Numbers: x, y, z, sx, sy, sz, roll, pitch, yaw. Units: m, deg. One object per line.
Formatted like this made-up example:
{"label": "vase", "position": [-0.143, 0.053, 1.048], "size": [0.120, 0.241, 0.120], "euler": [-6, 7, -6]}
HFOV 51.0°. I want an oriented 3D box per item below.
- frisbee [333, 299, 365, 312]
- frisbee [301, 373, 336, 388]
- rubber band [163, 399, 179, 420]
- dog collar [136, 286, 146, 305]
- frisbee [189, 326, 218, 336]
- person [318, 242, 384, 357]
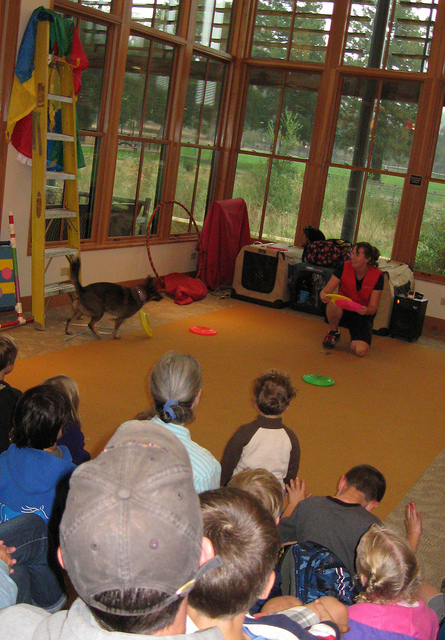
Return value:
{"label": "frisbee", "position": [1.536, -0.187, 5.612], "size": [0.227, 0.039, 0.174], "euler": [11, -24, 44]}
{"label": "frisbee", "position": [0.968, 0.600, 4.706], "size": [0.338, 0.037, 0.394], "euler": [13, 13, 17]}
{"label": "rubber band", "position": [-0.211, 0.356, 1.846], "size": [0.048, 0.065, 0.019], "euler": [-8, -32, 8]}
{"label": "dog collar", "position": [-0.919, -0.291, 5.271], "size": [0.047, 0.152, 0.155], "euler": [-15, -33, 0]}
{"label": "frisbee", "position": [-0.207, 0.133, 5.650], "size": [0.363, 0.040, 0.284], "euler": [2, 14, -27]}
{"label": "person", "position": [1.570, -0.293, 5.729], "size": [0.688, 1.318, 0.625], "euler": [12, 13, 16]}
